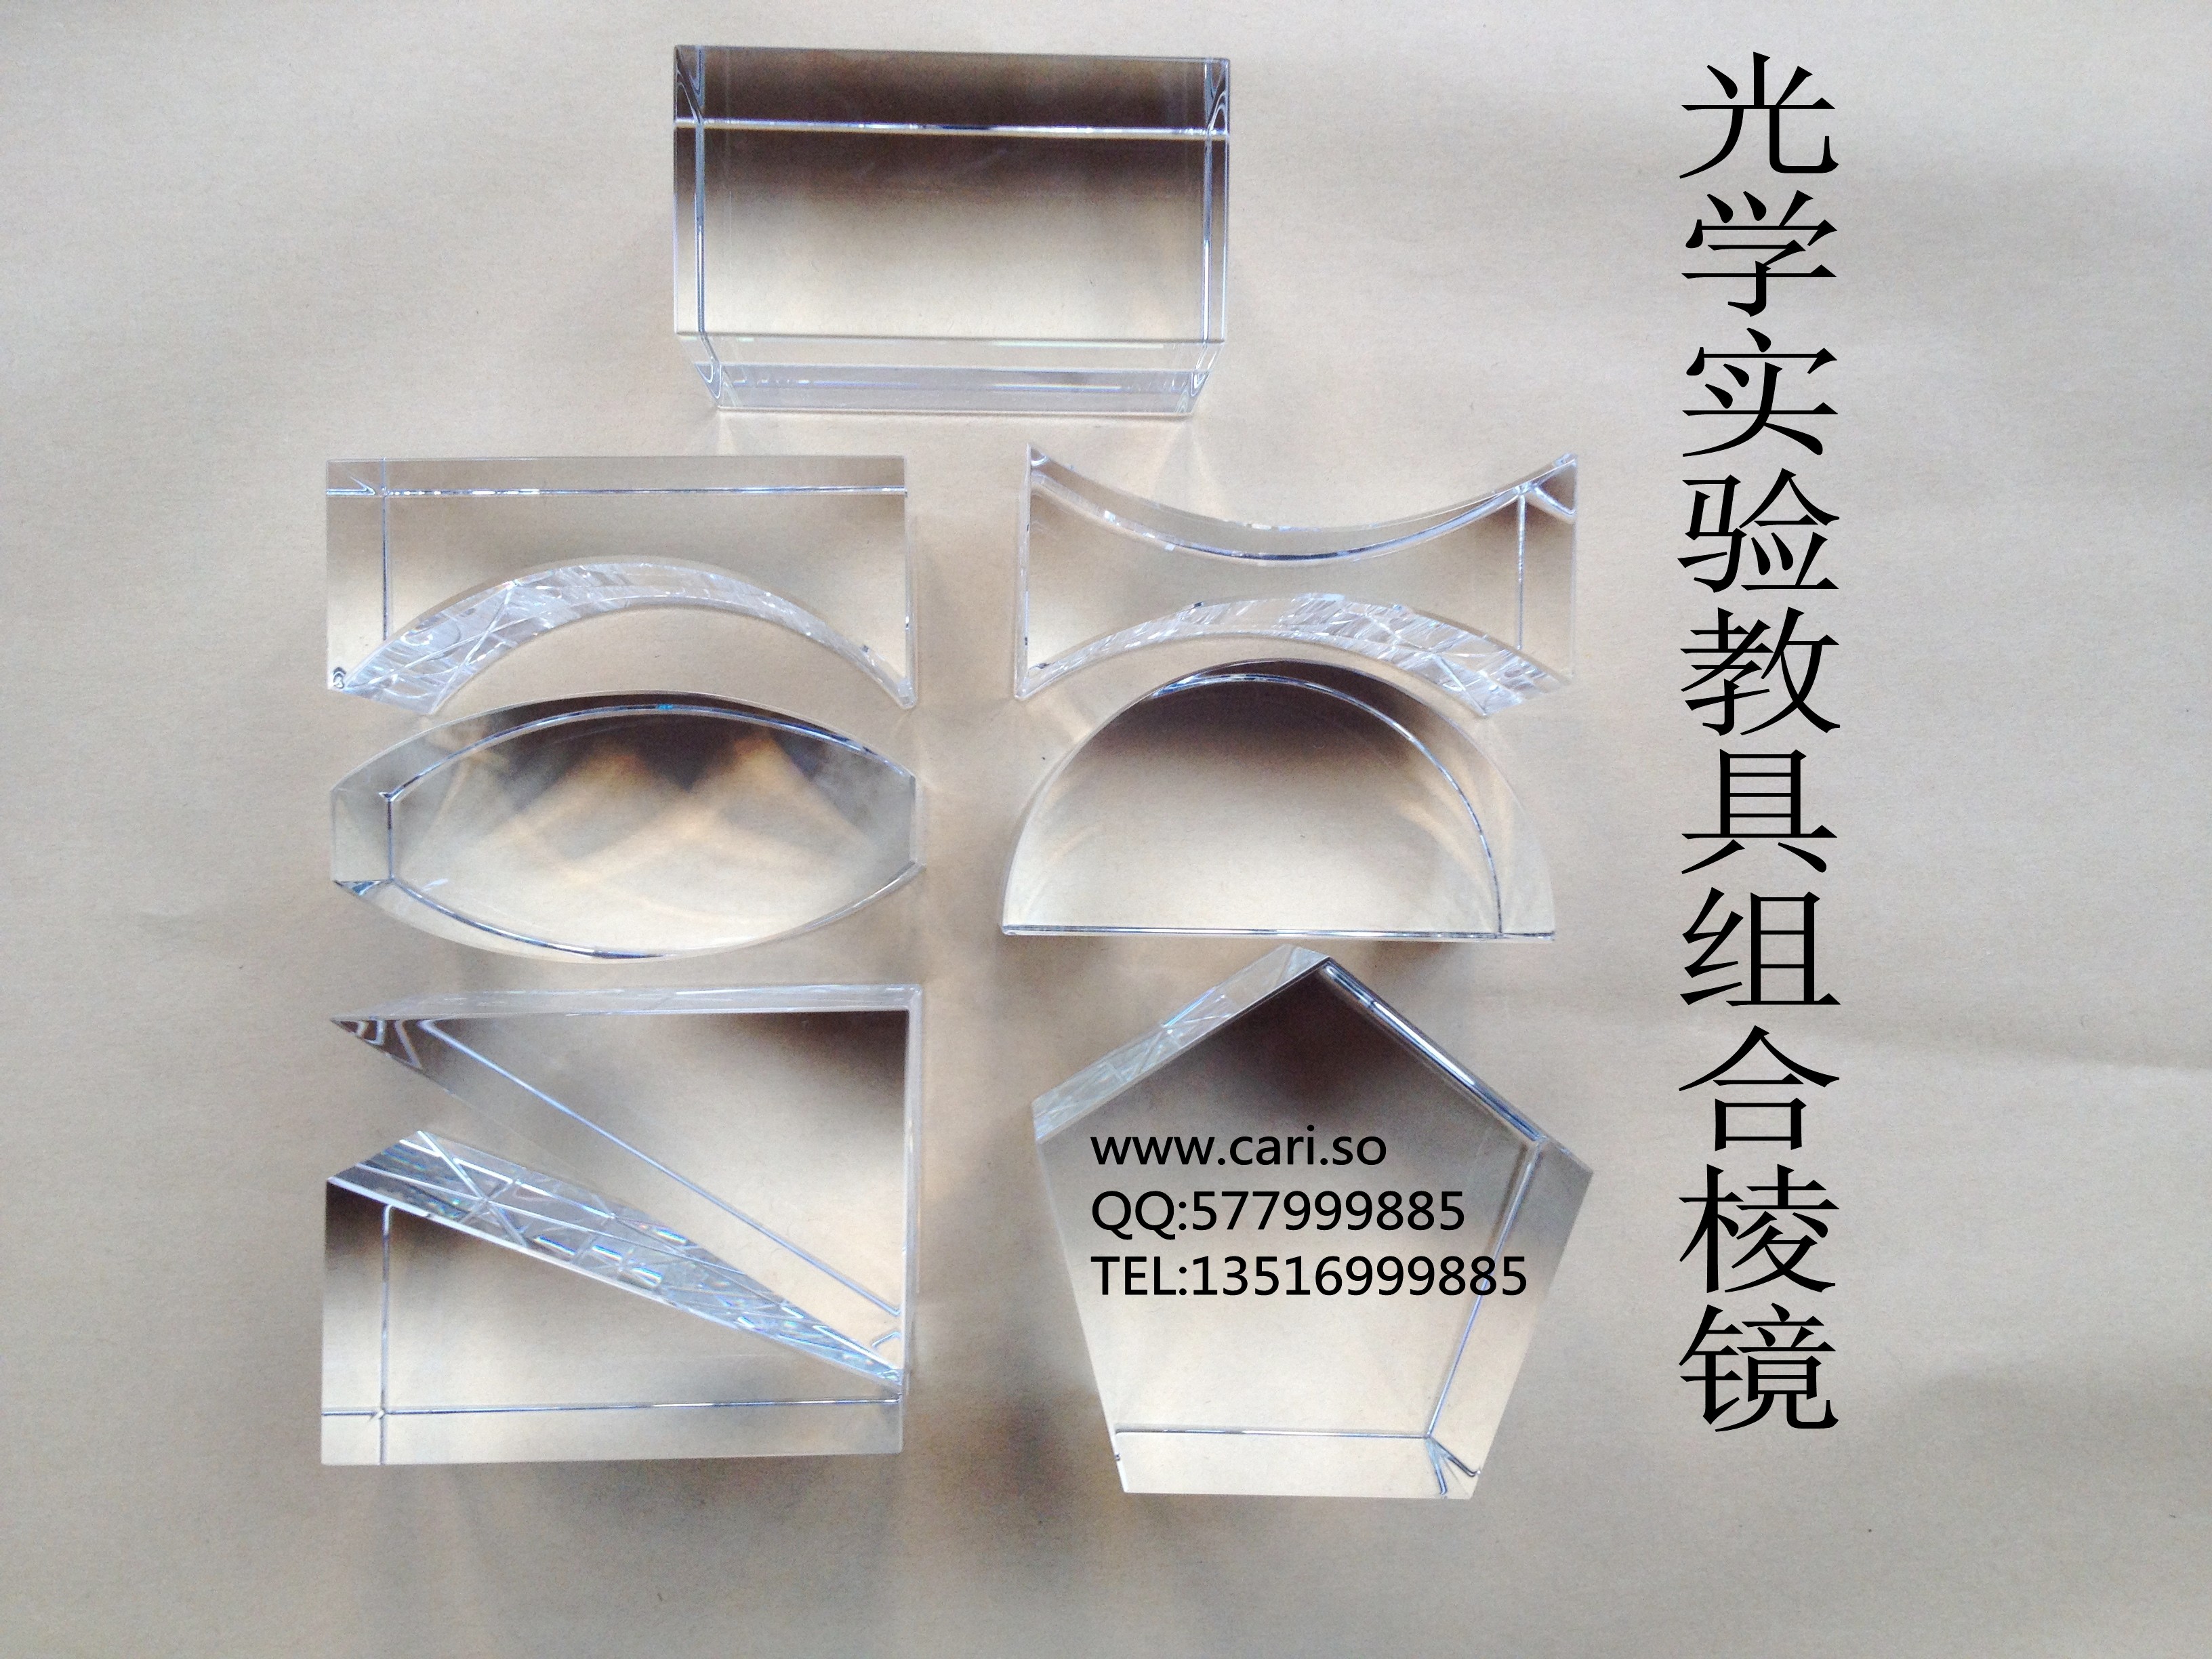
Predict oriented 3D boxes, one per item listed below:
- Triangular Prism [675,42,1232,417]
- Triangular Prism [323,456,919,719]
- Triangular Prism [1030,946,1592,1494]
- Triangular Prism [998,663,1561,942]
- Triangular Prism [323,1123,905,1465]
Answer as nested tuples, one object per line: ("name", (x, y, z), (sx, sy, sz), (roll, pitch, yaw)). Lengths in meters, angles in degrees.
("Triangular Prism", (-0.171, -0.736, 3.631), (0.583, 0.334, 0.282), (0, 30, -2))
("Triangular Prism", (-0.470, -0.244, 3.501), (0.543, 0.272, 0.168), (-1, -3, -4))
("Triangular Prism", (0.174, 0.382, 3.588), (0.606, 0.555, 0.396), (5, 13, 1))
("Triangular Prism", (0.172, -0.025, 3.453), (0.562, 0.289, 0.101), (1, -2, -14))
("Triangular Prism", (-0.497, 0.536, 3.419), (0.503, 0.263, 0.309), (19, -5, -30))
